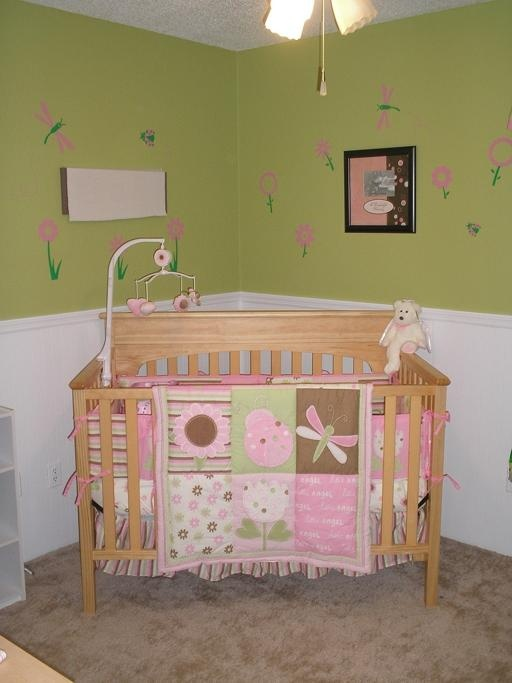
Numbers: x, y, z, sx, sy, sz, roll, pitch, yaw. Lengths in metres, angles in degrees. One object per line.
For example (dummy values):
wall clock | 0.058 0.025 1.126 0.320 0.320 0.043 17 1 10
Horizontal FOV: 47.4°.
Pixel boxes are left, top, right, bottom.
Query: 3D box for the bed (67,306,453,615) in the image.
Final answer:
bed | 0.010 0.372 2.250 1.190 0.971 1.008 0 5 -1

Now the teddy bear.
teddy bear | 0.561 -0.017 2.230 0.196 0.287 0.154 12 18 38

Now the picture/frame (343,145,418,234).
picture/frame | 0.546 -0.666 2.502 0.398 0.418 0.033 6 12 39
